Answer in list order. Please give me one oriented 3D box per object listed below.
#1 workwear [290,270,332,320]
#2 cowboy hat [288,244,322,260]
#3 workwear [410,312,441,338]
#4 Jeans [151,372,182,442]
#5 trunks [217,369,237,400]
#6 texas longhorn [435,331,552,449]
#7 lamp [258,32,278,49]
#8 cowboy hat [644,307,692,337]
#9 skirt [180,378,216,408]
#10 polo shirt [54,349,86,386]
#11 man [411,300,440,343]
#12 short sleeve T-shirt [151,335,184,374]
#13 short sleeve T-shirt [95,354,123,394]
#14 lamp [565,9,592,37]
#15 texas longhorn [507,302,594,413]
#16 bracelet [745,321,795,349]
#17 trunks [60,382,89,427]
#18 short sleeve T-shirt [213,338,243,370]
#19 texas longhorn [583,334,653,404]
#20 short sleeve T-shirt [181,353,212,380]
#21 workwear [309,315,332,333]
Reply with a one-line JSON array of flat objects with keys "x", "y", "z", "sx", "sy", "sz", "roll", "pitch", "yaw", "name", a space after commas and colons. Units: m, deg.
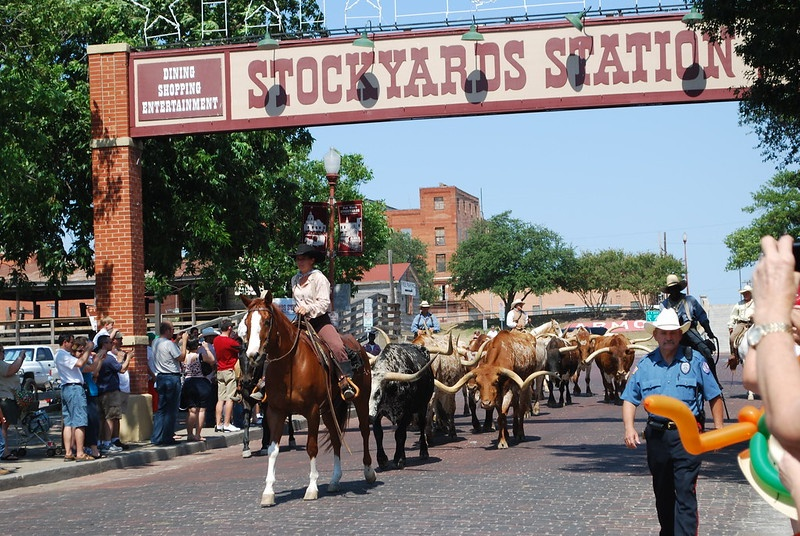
[{"x": -1.913, "y": 0.544, "z": 22.523, "sx": 0.771, "sy": 1.052, "sz": 1.028, "roll": -4, "pitch": 2, "yaw": -35, "name": "workwear"}, {"x": -2.234, "y": -0.386, "z": 25.354, "sx": 0.718, "sy": 0.299, "sz": 0.884, "roll": -2, "pitch": -19, "yaw": 7, "name": "cowboy hat"}, {"x": 0.724, "y": 1.795, "z": 33.734, "sx": 0.946, "sy": 1.009, "sz": 0.707, "roll": -2, "pitch": -18, "yaw": 11, "name": "workwear"}, {"x": -5.939, "y": 3.585, "z": 27.454, "sx": 0.730, "sy": 1.808, "sz": 0.811, "roll": -1, "pitch": -5, "yaw": -14, "name": "Jeans"}, {"x": -4.616, "y": 3.126, "z": 28.709, "sx": 0.481, "sy": 0.829, "sz": 1.382, "roll": -2, "pitch": -5, "yaw": -10, "name": "trunks"}, {"x": 2.455, "y": 2.923, "z": 26.434, "sx": 1.854, "sy": 2.821, "sz": 3.235, "roll": -4, "pitch": -5, "yaw": 18, "name": "texas longhorn"}, {"x": -3.473, "y": -5.957, "z": 28.438, "sx": 0.407, "sy": 0.474, "sz": 0.432, "roll": -1, "pitch": -15, "yaw": -3, "name": "lamp"}, {"x": 4.476, "y": 0.894, "z": 18.379, "sx": 0.578, "sy": 0.309, "sz": 0.713, "roll": 0, "pitch": -8, "yaw": 6, "name": "cowboy hat"}, {"x": -5.267, "y": 3.222, "z": 28.105, "sx": 0.868, "sy": 1.245, "sz": 0.651, "roll": 2, "pitch": 14, "yaw": -5, "name": "skirt"}, {"x": -7.670, "y": 2.372, "z": 25.179, "sx": 0.613, "sy": 1.083, "sz": 1.027, "roll": -13, "pitch": -5, "yaw": -19, "name": "polo shirt"}, {"x": 0.764, "y": 1.848, "z": 34.057, "sx": 0.842, "sy": 1.515, "sz": 0.812, "roll": -1, "pitch": 4, "yaw": -2, "name": "man"}, {"x": -6.036, "y": 2.170, "z": 27.569, "sx": 0.903, "sy": 0.935, "sz": 0.530, "roll": 10, "pitch": 17, "yaw": 17, "name": "short sleeve T-shirt"}, {"x": -7.046, "y": 2.594, "z": 26.411, "sx": 0.660, "sy": 0.983, "sz": 0.820, "roll": -3, "pitch": -5, "yaw": -27, "name": "short sleeve T-shirt"}, {"x": 4.553, "y": -6.441, "z": 28.030, "sx": 0.514, "sy": 0.554, "sz": 0.490, "roll": -3, "pitch": -5, "yaw": 2, "name": "lamp"}, {"x": 4.423, "y": 2.616, "z": 33.546, "sx": 1.952, "sy": 2.297, "sz": 4.109, "roll": -1, "pitch": -11, "yaw": 10, "name": "texas longhorn"}, {"x": 4.766, "y": 0.846, "z": 14.053, "sx": 0.422, "sy": 0.299, "sz": 0.487, "roll": 0, "pitch": -17, "yaw": -22, "name": "bracelet"}, {"x": -7.545, "y": 3.201, "z": 25.042, "sx": 0.549, "sy": 1.013, "sz": 0.428, "roll": -1, "pitch": -5, "yaw": -17, "name": "trunks"}, {"x": -4.586, "y": 2.243, "z": 28.526, "sx": 0.736, "sy": 0.901, "sz": 0.494, "roll": 2, "pitch": 7, "yaw": 31, "name": "short sleeve T-shirt"}, {"x": 6.326, "y": 2.902, "z": 32.315, "sx": 1.938, "sy": 1.967, "sz": 3.777, "roll": -2, "pitch": -8, "yaw": 2, "name": "texas longhorn"}, {"x": -5.323, "y": 2.703, "z": 28.107, "sx": 0.937, "sy": 0.992, "sz": 0.580, "roll": 1, "pitch": -5, "yaw": -16, "name": "short sleeve T-shirt"}, {"x": -1.659, "y": 1.118, "z": 22.522, "sx": 0.495, "sy": 0.387, "sz": 0.303, "roll": -4, "pitch": -12, "yaw": -19, "name": "workwear"}]
